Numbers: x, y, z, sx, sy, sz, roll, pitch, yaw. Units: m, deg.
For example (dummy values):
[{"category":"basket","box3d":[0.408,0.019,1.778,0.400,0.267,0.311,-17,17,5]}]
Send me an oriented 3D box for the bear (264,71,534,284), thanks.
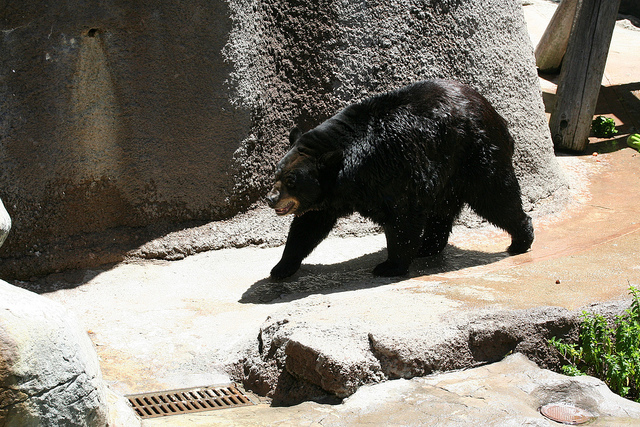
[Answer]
[{"category":"bear","box3d":[0.955,-0.479,12.539,3.724,2.134,1.788,-5,13,-18]}]
